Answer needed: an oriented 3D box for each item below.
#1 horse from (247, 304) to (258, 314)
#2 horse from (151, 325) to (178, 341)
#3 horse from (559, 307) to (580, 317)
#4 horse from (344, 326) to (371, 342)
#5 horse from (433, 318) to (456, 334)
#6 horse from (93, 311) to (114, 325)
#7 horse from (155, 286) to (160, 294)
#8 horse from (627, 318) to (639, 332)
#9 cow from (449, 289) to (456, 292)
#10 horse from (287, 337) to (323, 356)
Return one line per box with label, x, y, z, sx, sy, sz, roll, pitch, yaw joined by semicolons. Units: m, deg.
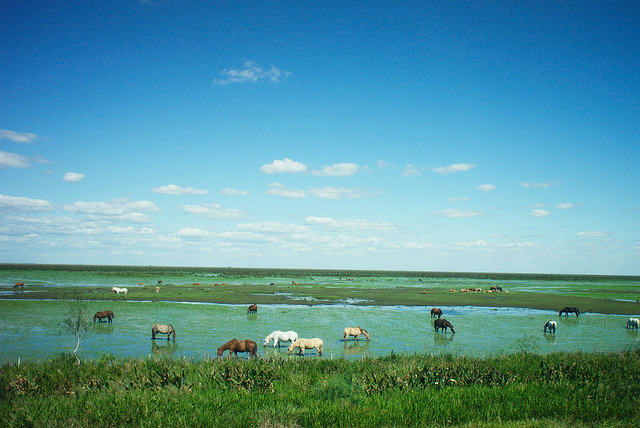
horse;-6.918;9.560;56.395;0.946;0.862;1.361;0;0;-11
horse;-12.222;9.215;43.876;1.958;1.149;1.495;0;0;-5
horse;25.862;10.041;57.602;1.727;0.860;1.938;0;0;33
horse;2.833;9.588;44.458;1.989;1.147;1.733;0;0;-33
horse;10.607;9.510;47.476;1.598;1.219;1.830;0;0;17
horse;-19.380;9.105;49.522;1.595;1.057;1.784;0;0;-25
horse;-24.000;11.191;81.763;0.758;1.531;0.633;4;3;-16
horse;27.681;9.703;49.074;0.776;0.925;0.706;0;0;16
cow;21.463;12.427;90.455;0.677;0.223;0.467;13;-24;-42
horse;-1.035;9.777;40.983;2.378;1.247;1.434;0;0;-3
